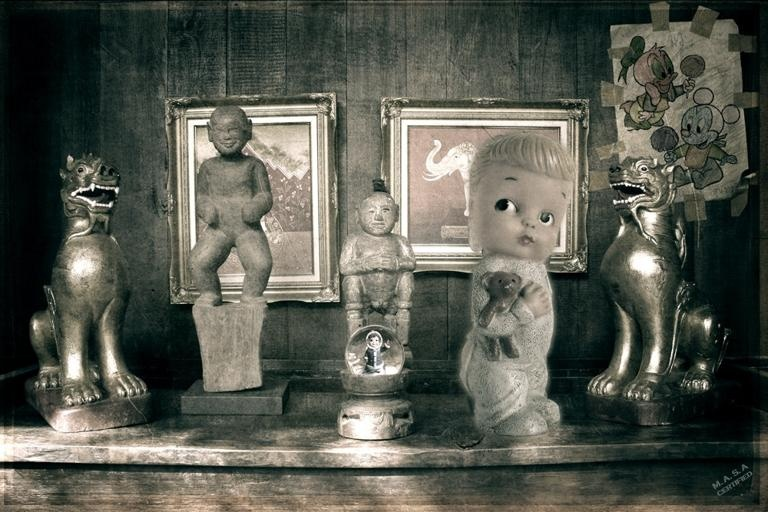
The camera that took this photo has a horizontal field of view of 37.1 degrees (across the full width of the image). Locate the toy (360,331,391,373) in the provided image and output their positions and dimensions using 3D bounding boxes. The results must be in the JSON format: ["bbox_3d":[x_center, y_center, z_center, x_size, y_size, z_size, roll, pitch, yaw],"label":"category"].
[{"bbox_3d":[-0.023,0.333,3.975,0.087,0.163,0.063,0,4,-2],"label":"toy"}]
